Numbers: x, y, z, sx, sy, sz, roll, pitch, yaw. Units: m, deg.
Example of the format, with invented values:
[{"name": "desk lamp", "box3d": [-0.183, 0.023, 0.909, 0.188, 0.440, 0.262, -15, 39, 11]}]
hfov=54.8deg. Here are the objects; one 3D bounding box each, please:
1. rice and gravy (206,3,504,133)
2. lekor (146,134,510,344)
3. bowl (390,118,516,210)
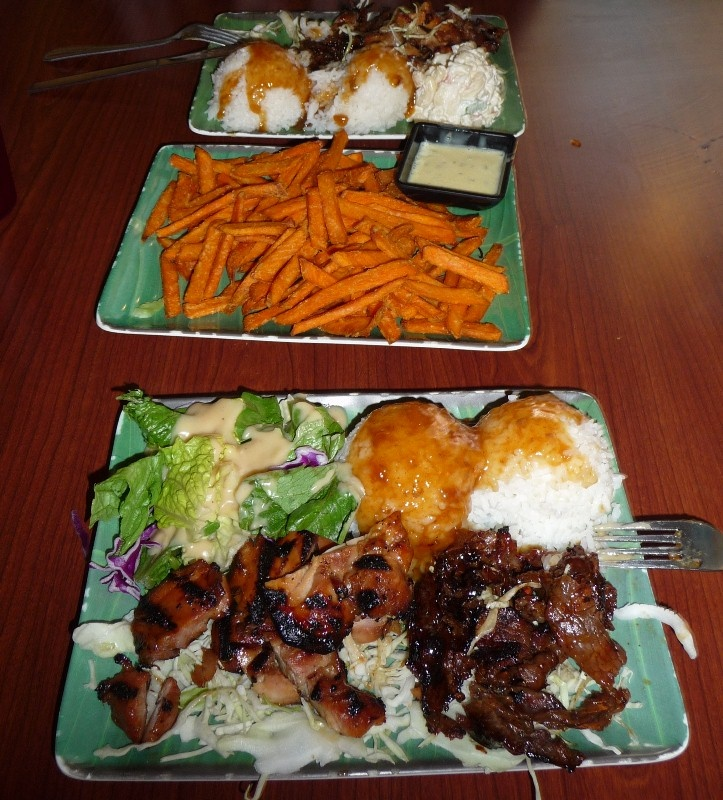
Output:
[{"name": "rice and gravy", "box3d": [-0.025, -1.570, 3.571, 1.338, 0.251, 0.758, 2, 69, -1]}, {"name": "lekor", "box3d": [-0.169, -0.659, 2.870, 1.558, 0.325, 0.953, 7, 65, 6]}, {"name": "bowl", "box3d": [0.390, -1.036, 3.132, 0.514, 0.156, 0.392, 9, 67, 4]}]
